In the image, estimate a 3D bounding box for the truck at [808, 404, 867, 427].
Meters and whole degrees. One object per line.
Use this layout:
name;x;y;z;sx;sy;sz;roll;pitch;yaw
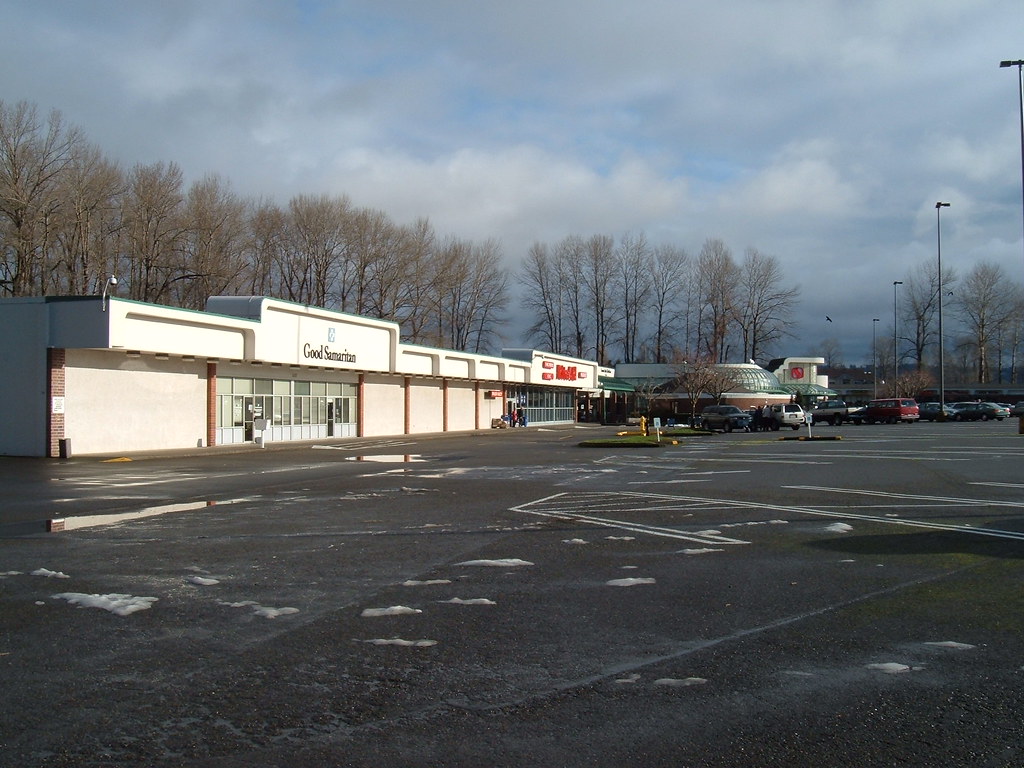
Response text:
truck;23.866;2.435;67.953;1.775;1.259;3.569;0;-1;-43

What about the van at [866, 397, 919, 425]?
van;25.602;1.903;62.909;2.857;1.336;1.781;0;-1;42

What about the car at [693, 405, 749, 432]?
car;13.323;2.170;58.060;1.391;1.112;3.729;0;-2;-29

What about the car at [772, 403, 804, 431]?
car;16.711;2.012;56.687;1.132;1.006;2.244;-1;3;-8

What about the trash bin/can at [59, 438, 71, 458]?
trash bin/can;-15.271;2.196;31.768;0.362;0.643;1.187;-1;-2;-25
